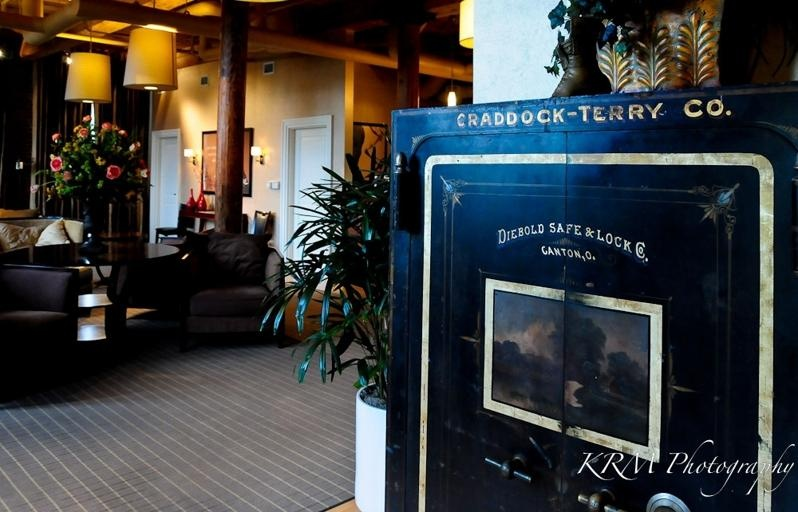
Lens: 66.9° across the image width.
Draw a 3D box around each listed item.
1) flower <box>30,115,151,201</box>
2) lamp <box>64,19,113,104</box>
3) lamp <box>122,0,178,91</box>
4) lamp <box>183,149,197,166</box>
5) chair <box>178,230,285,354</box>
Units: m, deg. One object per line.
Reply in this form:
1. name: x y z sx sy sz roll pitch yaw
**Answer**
1. flower: -2.614 -0.739 5.187 0.704 0.736 0.674 -5 -5 -25
2. lamp: -3.779 -2.240 7.452 0.595 1.040 0.607 7 10 37
3. lamp: -2.615 -2.050 6.357 0.508 0.590 0.516 0 0 5
4. lamp: -3.719 -1.737 10.661 0.166 0.256 0.515 -3 10 -25
5. chair: -1.446 0.249 5.235 0.830 1.024 0.834 1 3 -23
